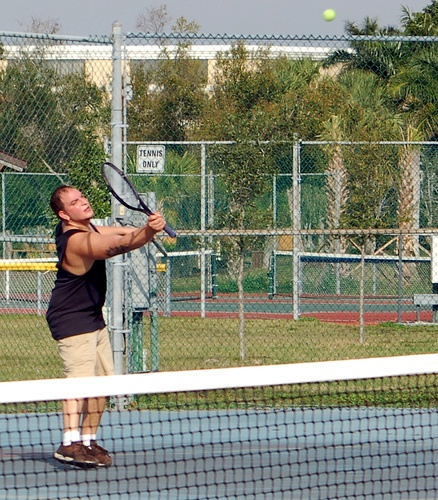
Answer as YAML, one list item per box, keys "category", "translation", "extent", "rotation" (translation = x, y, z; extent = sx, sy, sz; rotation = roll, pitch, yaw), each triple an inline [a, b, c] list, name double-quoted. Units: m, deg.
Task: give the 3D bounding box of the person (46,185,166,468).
- category: "person"
  translation: [-0.858, 0.546, 7.845]
  extent: [0.519, 1.965, 1.062]
  rotation: [-2, 4, -29]

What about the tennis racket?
- category: "tennis racket"
  translation: [-0.702, -0.483, 9.400]
  extent: [0.068, 0.535, 1.291]
  rotation: [-39, 17, -14]

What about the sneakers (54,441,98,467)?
- category: "sneakers"
  translation: [-0.988, 1.414, 7.890]
  extent: [0.297, 0.167, 0.148]
  rotation: [7, -6, 20]
